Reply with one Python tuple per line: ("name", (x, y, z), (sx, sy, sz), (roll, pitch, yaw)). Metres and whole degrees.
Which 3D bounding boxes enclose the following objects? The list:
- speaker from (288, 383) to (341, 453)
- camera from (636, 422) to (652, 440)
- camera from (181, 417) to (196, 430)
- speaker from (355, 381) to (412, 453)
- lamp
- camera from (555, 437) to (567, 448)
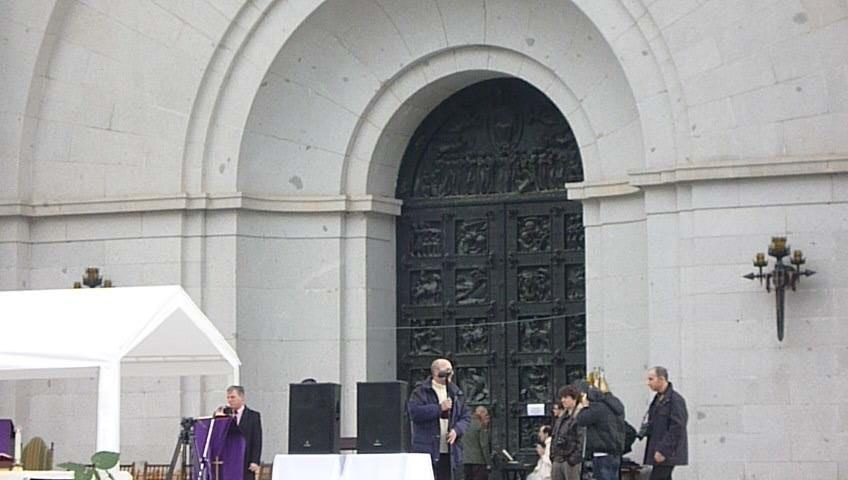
("speaker", (-1.999, 3.156, 26.623), (1.181, 1.499, 0.900), (-1, -11, 8))
("camera", (3.959, 3.468, 27.155), (0.120, 0.293, 0.238), (32, 3, -24))
("camera", (-4.249, 3.239, 26.679), (0.210, 0.179, 0.201), (-2, -8, 11))
("speaker", (-0.791, 3.123, 26.516), (0.853, 1.241, 0.316), (1, -13, -11))
("lamp", (6.711, 0.979, 28.217), (2.000, 2.355, 1.844), (-1, -5, 15))
("camera", (2.458, 3.703, 27.564), (0.230, 0.201, 0.212), (-2, -9, 23))
